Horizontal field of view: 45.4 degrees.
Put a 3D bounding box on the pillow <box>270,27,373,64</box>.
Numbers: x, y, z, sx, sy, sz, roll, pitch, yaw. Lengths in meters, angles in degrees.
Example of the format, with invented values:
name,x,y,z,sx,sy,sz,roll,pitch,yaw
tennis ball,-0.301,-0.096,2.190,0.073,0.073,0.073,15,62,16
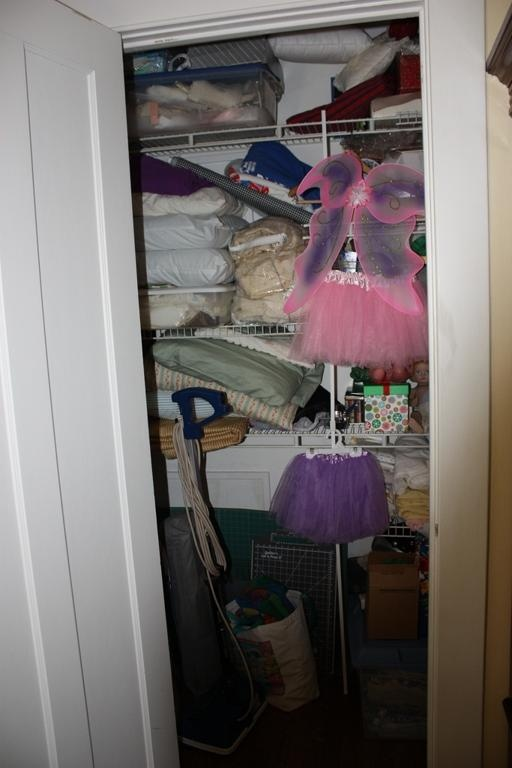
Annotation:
name,x,y,z,sx,sy,sz,roll,pitch,yaw
pillow,0.194,-1.071,1.946,0.232,0.079,0.134,1,40,10

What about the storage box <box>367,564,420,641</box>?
name,x,y,z,sx,sy,sz,roll,pitch,yaw
storage box,0.442,0.708,2.045,0.207,0.233,0.212,-1,-7,24

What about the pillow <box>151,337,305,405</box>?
name,x,y,z,sx,sy,sz,roll,pitch,yaw
pillow,-0.088,-0.053,1.890,0.296,0.079,0.258,19,11,5

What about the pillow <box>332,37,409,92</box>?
name,x,y,z,sx,sy,sz,roll,pitch,yaw
pillow,0.349,-0.984,1.905,0.252,0.144,0.130,-1,10,27

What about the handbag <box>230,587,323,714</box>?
name,x,y,z,sx,sy,sz,roll,pitch,yaw
handbag,0.054,0.854,2.005,0.250,0.324,0.199,3,17,46
